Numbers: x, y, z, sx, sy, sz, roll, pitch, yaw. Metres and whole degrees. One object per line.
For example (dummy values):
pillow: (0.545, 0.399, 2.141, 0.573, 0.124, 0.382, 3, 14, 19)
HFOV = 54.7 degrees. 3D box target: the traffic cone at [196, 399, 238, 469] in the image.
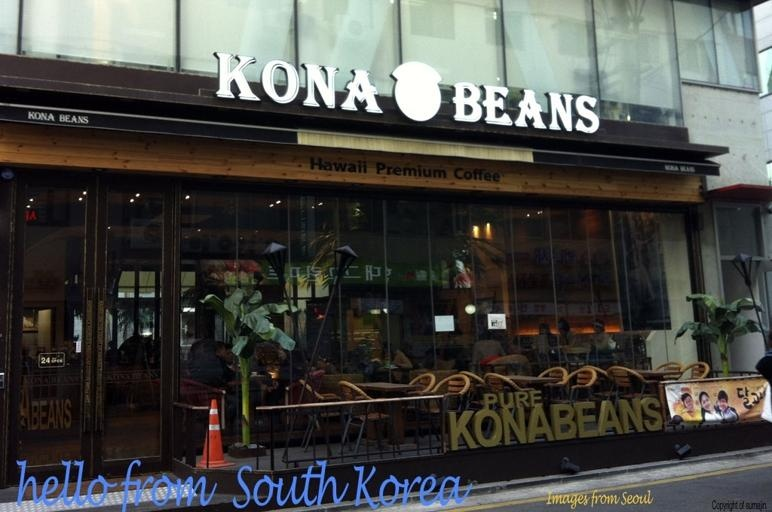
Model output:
traffic cone: (-3.079, 3.177, 13.333, 0.574, 1.148, 0.850, 0, -8, -14)
